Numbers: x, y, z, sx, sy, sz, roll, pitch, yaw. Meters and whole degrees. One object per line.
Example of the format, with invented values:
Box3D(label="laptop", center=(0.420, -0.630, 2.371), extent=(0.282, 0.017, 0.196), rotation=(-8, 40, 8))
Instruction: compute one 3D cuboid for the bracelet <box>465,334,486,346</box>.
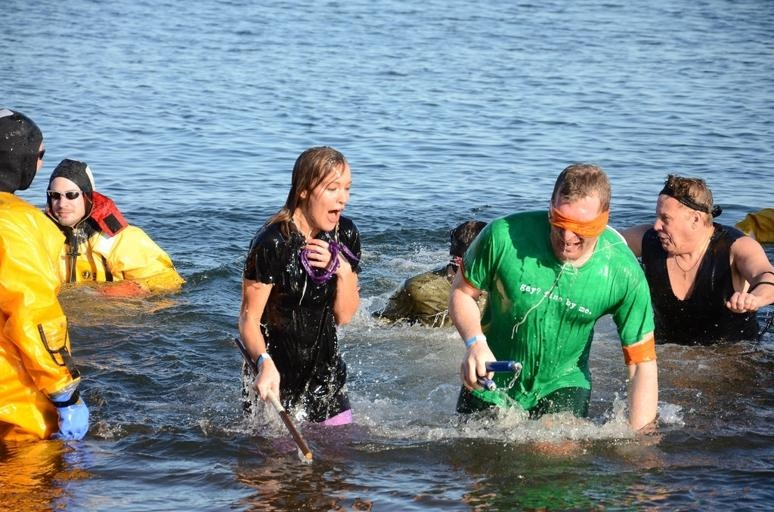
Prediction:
Box3D(label="bracelet", center=(1.002, 0.960, 14.105), extent=(0.186, 0.106, 0.163), rotation=(-15, -17, -2))

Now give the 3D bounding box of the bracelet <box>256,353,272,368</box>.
Box3D(label="bracelet", center=(-1.413, 1.175, 13.866), extent=(0.128, 0.056, 0.188), rotation=(-11, -12, -39))

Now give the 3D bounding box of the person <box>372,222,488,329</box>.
Box3D(label="person", center=(0.590, 0.320, 17.441), extent=(1.156, 1.427, 1.534), rotation=(44, 16, 21))
